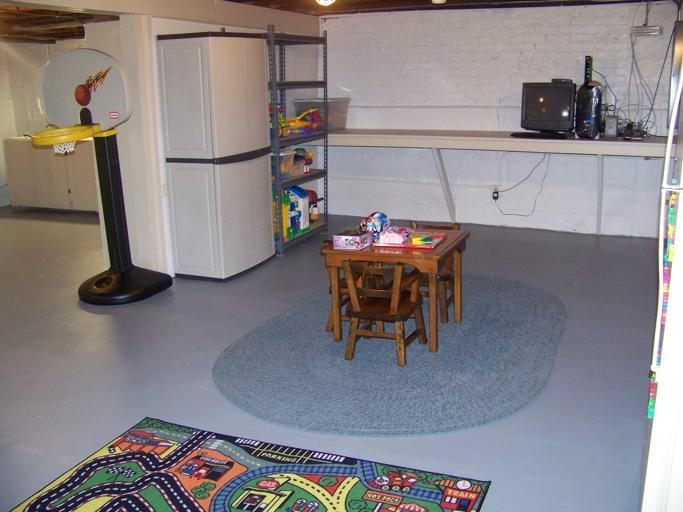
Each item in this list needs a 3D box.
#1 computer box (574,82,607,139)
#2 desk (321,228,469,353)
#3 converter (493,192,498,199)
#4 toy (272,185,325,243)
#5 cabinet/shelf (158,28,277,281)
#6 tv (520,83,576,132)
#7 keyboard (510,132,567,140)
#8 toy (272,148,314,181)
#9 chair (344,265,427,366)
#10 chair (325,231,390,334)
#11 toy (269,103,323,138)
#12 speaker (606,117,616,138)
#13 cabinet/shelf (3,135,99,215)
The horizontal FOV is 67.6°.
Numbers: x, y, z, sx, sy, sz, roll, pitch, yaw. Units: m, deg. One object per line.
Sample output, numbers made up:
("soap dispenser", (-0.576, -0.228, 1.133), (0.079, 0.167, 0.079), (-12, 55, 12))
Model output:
("computer box", (3.285, -1.906, 6.633), (0.424, 0.681, 0.512), (1, 20, 3))
("desk", (0.490, 0.026, 4.514), (1.069, 0.994, 1.352), (3, 15, 20))
("converter", (2.325, -0.911, 7.678), (0.101, 0.099, 0.036), (3, 6, 21))
("toy", (-0.618, -0.566, 7.118), (0.419, 0.688, 0.759), (6, 20, 19))
("cabinet/shelf", (-1.421, -1.094, 5.741), (1.166, 2.605, 0.804), (-6, 21, -15))
("tv", (2.748, -1.971, 6.693), (0.571, 0.564, 0.327), (9, 22, 29))
("keyboard", (2.603, -1.591, 6.724), (0.704, 0.058, 0.350), (6, 21, 17))
("toy", (-0.644, -1.306, 7.161), (0.373, 0.208, 0.588), (7, 23, 22))
("chair", (0.357, 0.420, 4.202), (0.664, 0.775, 0.609), (6, 13, 40))
("chair", (0.160, 0.353, 4.444), (0.713, 0.793, 0.650), (0, 7, 6))
("toy", (-0.574, -1.848, 7.038), (0.954, 0.370, 0.286), (-14, 19, -43))
("speaker", (3.440, -1.653, 6.491), (0.164, 0.267, 0.103), (8, 22, 22))
("cabinet/shelf", (-4.548, -1.284, 8.065), (1.397, 0.919, 0.760), (3, 16, 10))
